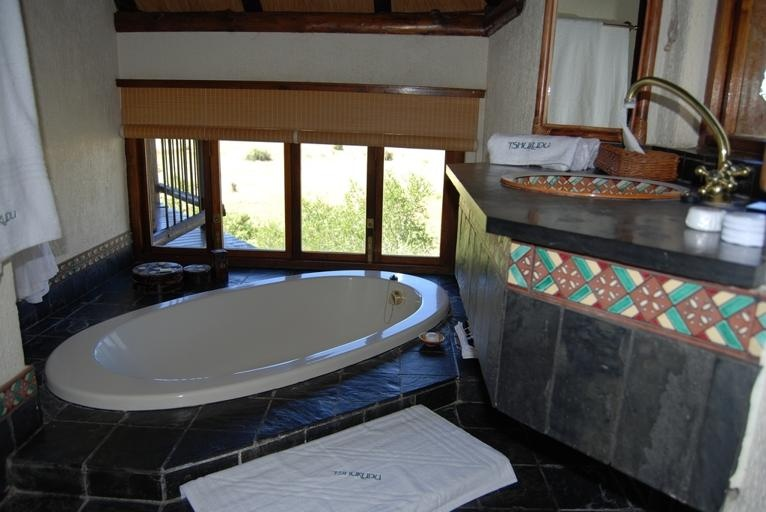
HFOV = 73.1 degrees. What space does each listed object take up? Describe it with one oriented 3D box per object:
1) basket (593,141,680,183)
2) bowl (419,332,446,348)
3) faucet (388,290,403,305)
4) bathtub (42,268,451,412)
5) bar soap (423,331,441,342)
[{"bbox_3d":[1.110,-0.410,2.357,0.212,0.108,0.286,-1,8,-15],"label":"basket"},{"bbox_3d":[0.265,0.448,2.778,0.130,0.040,0.133,0,15,0],"label":"bowl"},{"bbox_3d":[0.093,0.262,3.347,0.076,0.128,0.135,-2,-6,-21],"label":"faucet"},{"bbox_3d":[-0.779,0.429,2.949,1.645,0.385,0.807,-10,19,-36],"label":"bathtub"},{"bbox_3d":[0.265,0.434,2.774,0.055,0.015,0.054,-7,15,-40],"label":"bar soap"}]
